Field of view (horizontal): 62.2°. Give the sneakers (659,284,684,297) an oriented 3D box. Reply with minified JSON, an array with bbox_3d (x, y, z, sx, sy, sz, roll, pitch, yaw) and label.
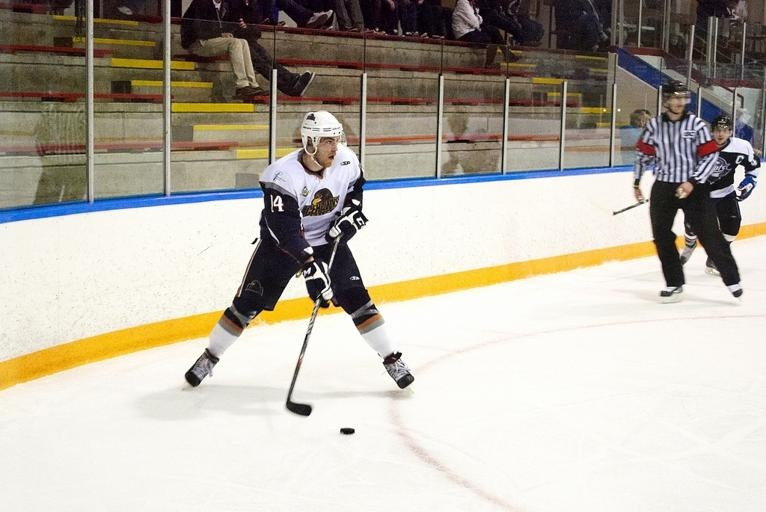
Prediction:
[{"bbox_3d":[2.574,0.312,5.656,0.198,0.076,0.086,-6,7,-35],"label":"sneakers"}]

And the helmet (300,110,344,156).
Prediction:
[{"bbox_3d":[-0.298,-0.709,3.642,0.277,0.243,0.220,2,24,12],"label":"helmet"}]

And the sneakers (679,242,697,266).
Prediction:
[{"bbox_3d":[3.333,-0.015,6.934,0.100,0.079,0.298,27,-24,14],"label":"sneakers"}]

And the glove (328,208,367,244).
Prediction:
[{"bbox_3d":[-0.188,-0.167,3.822,0.230,0.093,0.175,-28,44,-9],"label":"glove"}]

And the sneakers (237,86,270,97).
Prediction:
[{"bbox_3d":[-0.967,-1.226,4.746,0.223,0.080,0.072,-5,13,-26],"label":"sneakers"}]

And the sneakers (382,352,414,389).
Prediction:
[{"bbox_3d":[0.094,0.670,3.742,0.144,0.098,0.236,-30,54,-12],"label":"sneakers"}]

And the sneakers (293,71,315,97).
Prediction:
[{"bbox_3d":[-0.626,-1.361,5.067,0.116,0.260,0.088,33,-18,-11],"label":"sneakers"}]
